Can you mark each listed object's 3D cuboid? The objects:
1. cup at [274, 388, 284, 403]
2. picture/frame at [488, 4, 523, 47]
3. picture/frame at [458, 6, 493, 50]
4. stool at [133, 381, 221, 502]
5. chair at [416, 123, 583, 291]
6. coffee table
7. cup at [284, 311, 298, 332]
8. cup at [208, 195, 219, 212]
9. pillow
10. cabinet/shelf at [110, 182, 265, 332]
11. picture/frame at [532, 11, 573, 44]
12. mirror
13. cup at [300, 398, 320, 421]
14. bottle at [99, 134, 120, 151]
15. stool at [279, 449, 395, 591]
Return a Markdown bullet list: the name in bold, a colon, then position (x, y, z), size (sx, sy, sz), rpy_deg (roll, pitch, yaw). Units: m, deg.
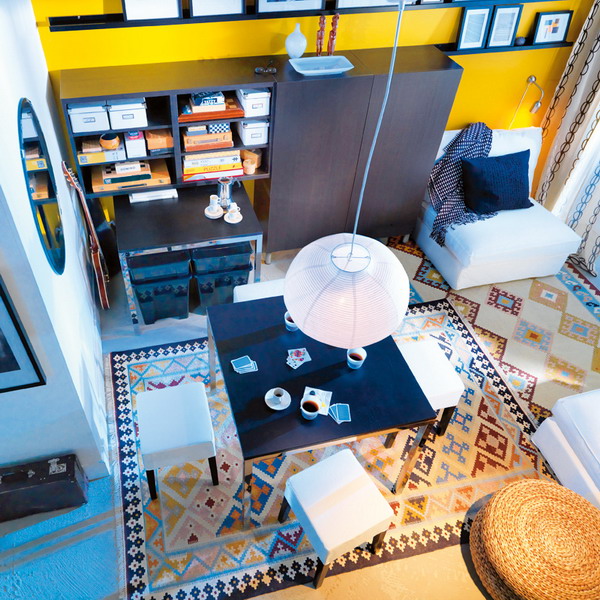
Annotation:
- **cup**: position (-0.106, 0.464, 2.315), size (0.037, 0.063, 0.048), rpy_deg (-8, 49, -9)
- **picture/frame**: position (1.597, -2.169, 3.701), size (0.231, 0.347, 0.028), rpy_deg (-8, 37, -14)
- **picture/frame**: position (1.343, -2.117, 3.637), size (0.246, 0.367, 0.030), rpy_deg (-8, 42, -9)
- **stool**: position (-0.627, 0.709, 2.623), size (0.437, 0.536, 0.517), rpy_deg (-11, 51, -12)
- **chair**: position (1.671, -0.783, 4.057), size (0.928, 0.966, 0.837), rpy_deg (-12, 48, -11)
- **coffee table**: position (0.004, 0.324, 2.477), size (0.842, 0.584, 0.946), rpy_deg (-15, 55, -16)
- **cup**: position (-0.063, 0.110, 2.613), size (0.089, 0.072, 0.099), rpy_deg (-4, 50, -8)
- **cup**: position (-0.604, -0.692, 3.364), size (0.085, 0.107, 0.097), rpy_deg (-5, 45, -7)
- **pillow**: position (1.647, -1.006, 4.012), size (0.408, 0.162, 0.382), rpy_deg (-8, 74, -2)
- **cabinet/shelf**: position (-0.840, -0.353, 3.868), size (1.143, 1.197, 0.881), rpy_deg (-14, 54, -14)
- **picture/frame**: position (2.053, -2.246, 3.862), size (0.220, 0.221, 0.024), rpy_deg (-9, 39, -9)
- **mirror**: position (-1.132, -0.471, 2.086), size (0.040, 0.773, 0.672), rpy_deg (-11, 38, -18)
- **cup**: position (0.046, 0.514, 2.282), size (0.094, 0.061, 0.121), rpy_deg (1, 38, 0)
- **bottle**: position (-1.243, -1.040, 3.084), size (0.136, 0.067, 0.134), rpy_deg (1, 38, -1)
- **stool**: position (0.182, 0.956, 2.230), size (0.396, 0.185, 0.367), rpy_deg (-19, 43, -24)
